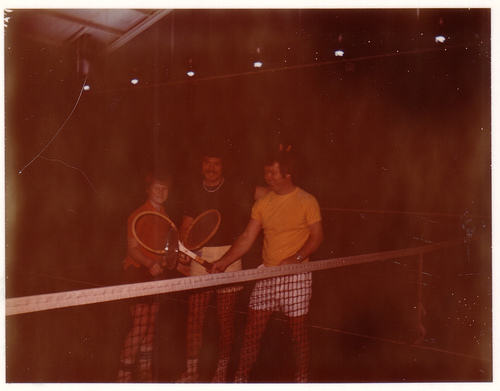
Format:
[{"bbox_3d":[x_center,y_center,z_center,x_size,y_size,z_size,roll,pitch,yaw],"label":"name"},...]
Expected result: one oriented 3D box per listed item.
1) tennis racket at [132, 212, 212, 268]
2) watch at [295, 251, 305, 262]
[{"bbox_3d":[-0.534,0.258,2.910,0.422,0.287,0.024,3,5,3],"label":"tennis racket"},{"bbox_3d":[0.316,0.388,2.937,0.020,0.045,0.059,-34,57,-19],"label":"watch"}]
